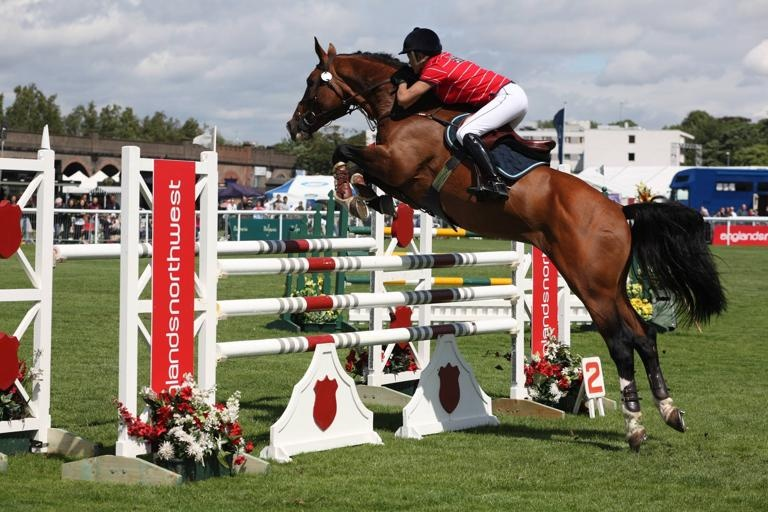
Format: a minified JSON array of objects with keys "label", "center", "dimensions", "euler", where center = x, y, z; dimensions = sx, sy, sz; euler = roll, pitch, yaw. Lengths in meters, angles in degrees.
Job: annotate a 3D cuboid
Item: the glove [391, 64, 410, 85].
[{"label":"glove","center":[0.153,-1.540,8.960],"dimensions":[0.126,0.178,0.063],"euler":[20,-23,40]}]
